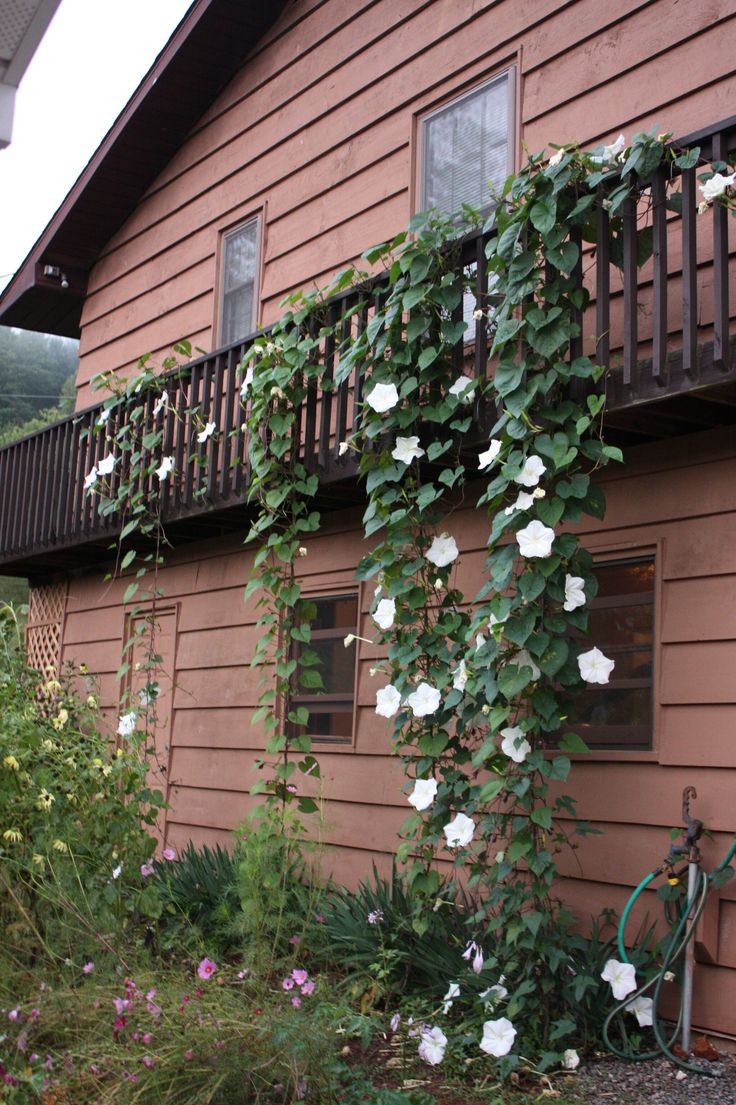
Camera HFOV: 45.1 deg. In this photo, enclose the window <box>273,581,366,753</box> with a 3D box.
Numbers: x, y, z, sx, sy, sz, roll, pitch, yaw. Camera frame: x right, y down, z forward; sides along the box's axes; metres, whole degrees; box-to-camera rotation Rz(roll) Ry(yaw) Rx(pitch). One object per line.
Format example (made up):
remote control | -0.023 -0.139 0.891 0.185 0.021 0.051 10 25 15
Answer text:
window | -0.257 0.523 5.150 0.451 0.049 0.830 -11 -42 -18
